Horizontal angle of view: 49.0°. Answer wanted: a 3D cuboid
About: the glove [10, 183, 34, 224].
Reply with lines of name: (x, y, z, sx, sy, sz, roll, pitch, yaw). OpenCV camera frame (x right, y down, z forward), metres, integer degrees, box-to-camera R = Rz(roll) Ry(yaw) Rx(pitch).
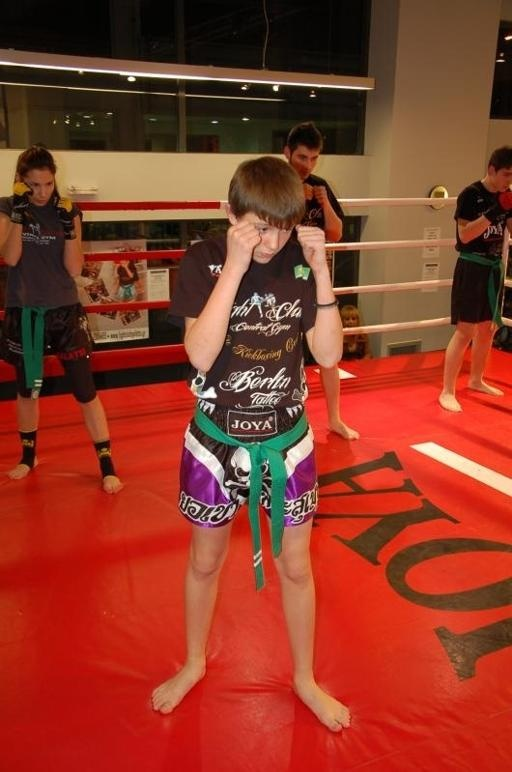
glove: (-0.922, -0.723, 2.226, 0.047, 0.159, 0.091, 11, 15, 40)

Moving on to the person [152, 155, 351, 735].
person: (-0.023, 0.165, 1.207, 0.453, 1.230, 0.306, -3, 15, -10)

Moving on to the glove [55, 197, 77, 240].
glove: (-0.783, -0.694, 2.325, 0.070, 0.170, 0.083, -5, 15, -17)
